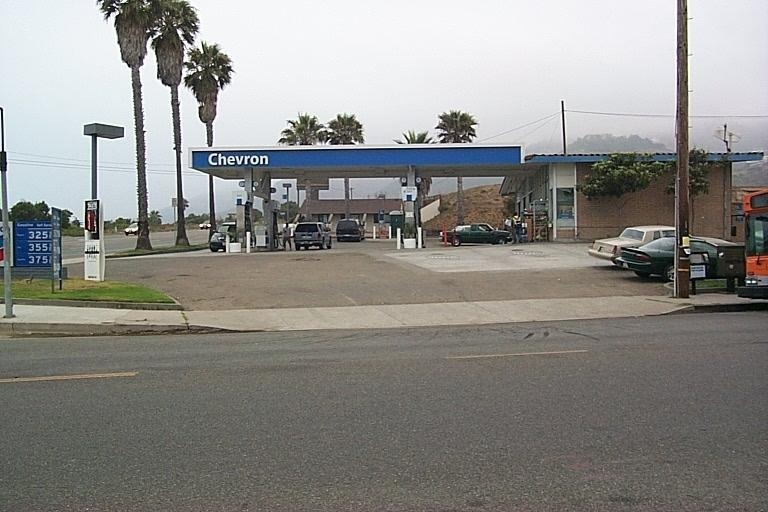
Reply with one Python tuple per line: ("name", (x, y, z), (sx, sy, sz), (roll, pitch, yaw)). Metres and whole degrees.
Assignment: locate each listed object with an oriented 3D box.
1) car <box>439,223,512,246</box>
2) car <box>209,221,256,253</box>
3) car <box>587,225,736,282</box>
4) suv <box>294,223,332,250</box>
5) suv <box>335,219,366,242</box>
("car", (6.245, -1.412, 44.840), (4.271, 1.392, 2.283), (1, 6, 15))
("car", (-10.431, -1.233, 43.761), (1.755, 1.447, 3.096), (0, -3, 0))
("car", (9.908, 0.003, 23.710), (2.896, 1.747, 7.064), (-1, 5, -1))
("suv", (-4.709, -1.444, 45.195), (1.471, 1.137, 2.861), (0, 5, 10))
("suv", (-3.069, -2.236, 60.468), (1.948, 1.952, 2.701), (0, 5, 10))
